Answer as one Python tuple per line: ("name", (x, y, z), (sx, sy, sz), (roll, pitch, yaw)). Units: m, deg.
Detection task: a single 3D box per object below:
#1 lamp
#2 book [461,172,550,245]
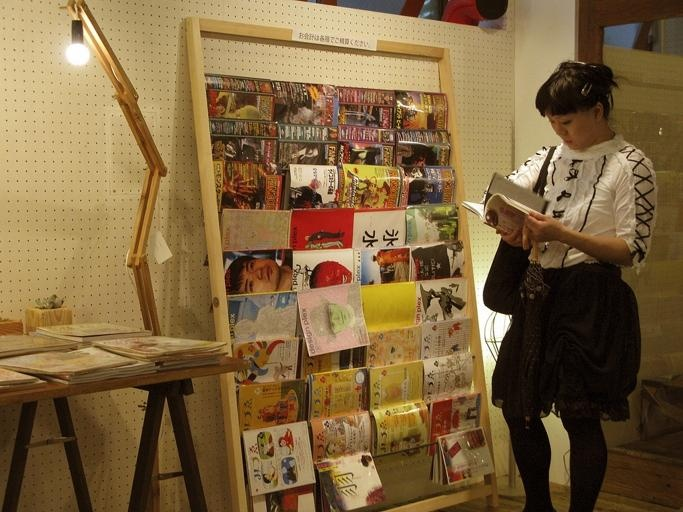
("lamp", (-0.890, -0.347, 2.290), (0.312, 1.366, 0.635), (-5, 5, -20))
("book", (0.739, -0.222, 2.482), (0.272, 0.121, 0.285), (27, -37, -10))
